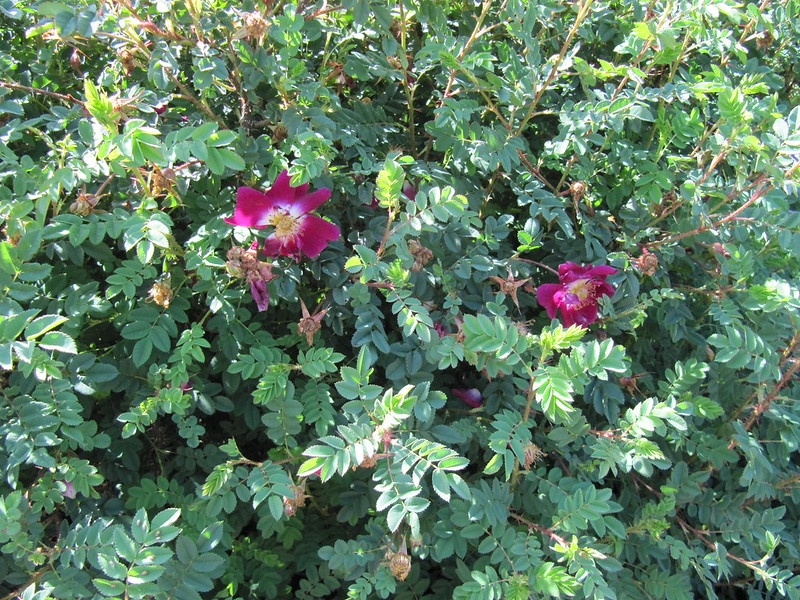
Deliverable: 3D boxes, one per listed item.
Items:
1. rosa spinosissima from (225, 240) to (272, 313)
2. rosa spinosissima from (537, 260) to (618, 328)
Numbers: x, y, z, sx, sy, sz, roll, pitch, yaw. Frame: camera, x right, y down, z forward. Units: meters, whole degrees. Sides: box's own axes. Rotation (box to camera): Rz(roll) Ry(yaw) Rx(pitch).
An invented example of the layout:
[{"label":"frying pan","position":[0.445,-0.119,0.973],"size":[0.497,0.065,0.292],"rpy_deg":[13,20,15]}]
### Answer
[{"label":"rosa spinosissima","position":[-0.616,-0.107,2.739],"size":[0.185,0.288,0.164],"rpy_deg":[2,38,-12]},{"label":"rosa spinosissima","position":[0.769,-0.034,2.974],"size":[0.262,0.313,0.278],"rpy_deg":[6,11,4]}]
